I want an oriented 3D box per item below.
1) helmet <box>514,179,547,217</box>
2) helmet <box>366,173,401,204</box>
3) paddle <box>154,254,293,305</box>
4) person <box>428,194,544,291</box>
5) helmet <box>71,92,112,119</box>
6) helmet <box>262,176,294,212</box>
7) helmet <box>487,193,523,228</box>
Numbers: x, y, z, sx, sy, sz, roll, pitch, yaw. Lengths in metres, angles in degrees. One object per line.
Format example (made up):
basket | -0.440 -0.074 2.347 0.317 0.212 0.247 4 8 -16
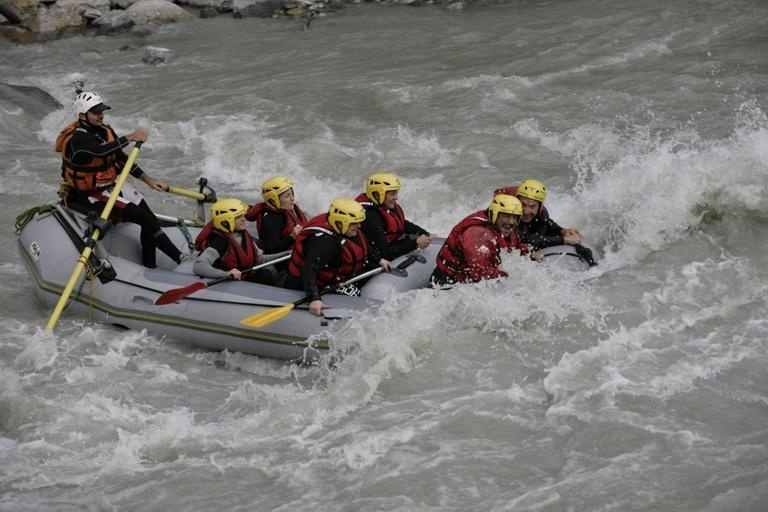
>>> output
helmet | 2.317 -0.940 16.804 0.488 0.458 0.540 14 4 6
helmet | -0.016 -1.067 16.995 0.618 0.402 0.437 1 20 4
paddle | -2.366 0.374 16.439 3.050 0.143 0.305 -11 67 -4
person | 1.426 -0.178 16.150 1.486 1.381 0.736 0 27 2
helmet | -4.466 -2.305 16.679 0.657 0.251 0.340 -4 22 4
helmet | -1.691 -0.969 16.920 0.618 0.430 0.440 -12 11 14
helmet | 1.776 -0.693 16.129 0.474 0.396 0.348 1 26 4
